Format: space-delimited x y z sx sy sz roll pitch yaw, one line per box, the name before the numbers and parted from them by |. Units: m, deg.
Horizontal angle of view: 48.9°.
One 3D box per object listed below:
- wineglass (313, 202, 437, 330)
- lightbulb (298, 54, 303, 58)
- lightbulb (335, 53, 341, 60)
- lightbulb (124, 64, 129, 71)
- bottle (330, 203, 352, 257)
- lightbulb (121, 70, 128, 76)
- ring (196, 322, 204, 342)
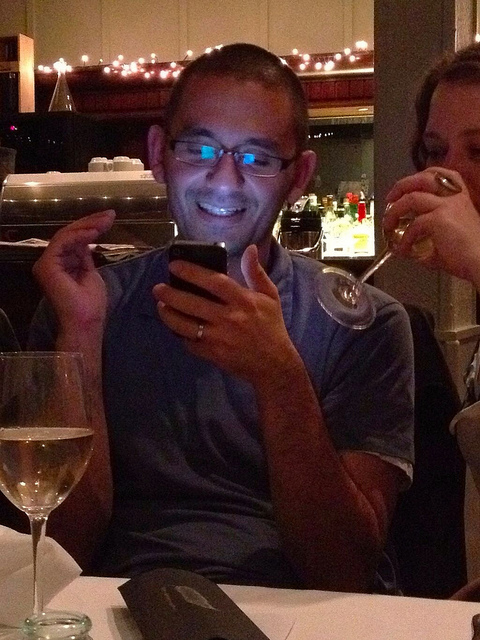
wineglass | 0.360 -0.192 1.242 0.249 0.159 0.154 32 15 20
lightbulb | 0.606 -2.572 5.096 0.023 0.047 0.089 19 31 -1
lightbulb | 0.939 -2.466 4.914 0.053 0.058 0.031 -1 6 10
lightbulb | -1.143 -2.579 5.358 0.061 0.073 0.040 4 8 43
bottle | 0.868 -0.709 4.326 0.204 0.509 0.186 8 -14 2
lightbulb | -1.162 -2.519 5.341 0.065 0.063 0.024 -1 6 4
ring | -0.059 0.016 0.818 0.011 0.025 0.007 -1 6 5
